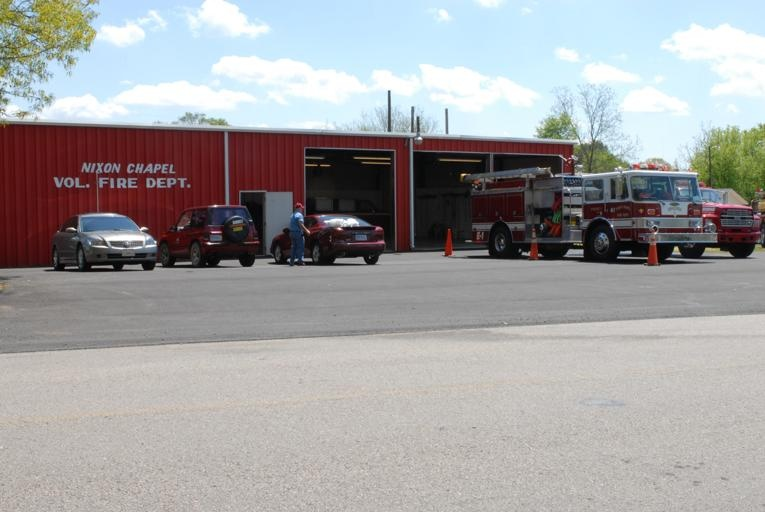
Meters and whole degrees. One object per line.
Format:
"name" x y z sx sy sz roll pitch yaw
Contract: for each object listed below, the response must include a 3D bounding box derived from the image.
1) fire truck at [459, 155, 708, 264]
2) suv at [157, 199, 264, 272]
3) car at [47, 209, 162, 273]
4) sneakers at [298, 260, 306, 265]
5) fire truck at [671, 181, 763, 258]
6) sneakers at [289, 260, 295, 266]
"fire truck" 7.320 -1.687 27.592 2.923 3.527 8.788 2 0 -44
"suv" -6.285 -0.742 24.651 3.565 2.167 1.563 2 3 32
"car" -9.635 -0.521 23.638 4.119 1.955 1.760 2 3 37
"sneakers" -2.909 0.223 24.762 0.307 0.250 0.109 -3 11 -14
"fire truck" 13.357 -1.565 28.784 2.539 2.958 5.948 1 -1 -10
"sneakers" -3.272 0.232 24.898 0.169 0.230 0.173 1 -8 -12
